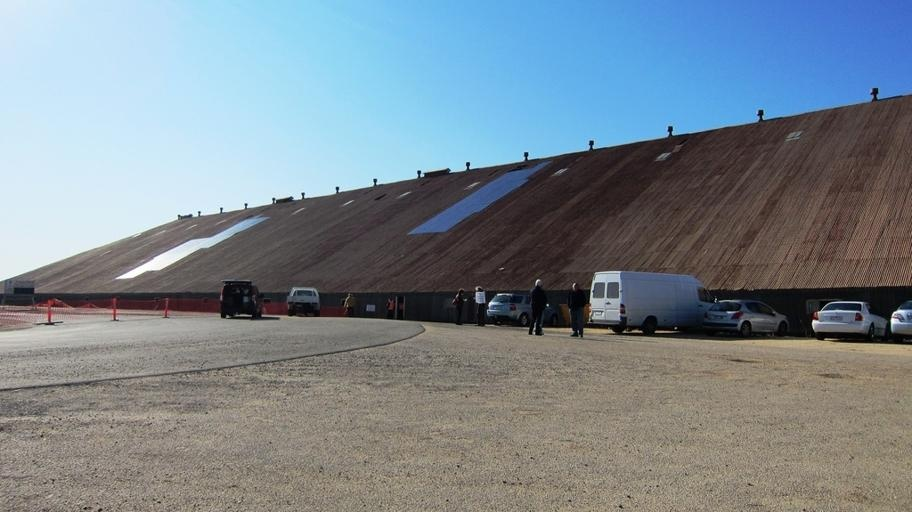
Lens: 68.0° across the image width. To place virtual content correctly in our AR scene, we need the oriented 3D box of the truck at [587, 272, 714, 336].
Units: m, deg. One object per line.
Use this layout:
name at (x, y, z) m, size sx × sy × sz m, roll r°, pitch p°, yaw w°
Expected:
truck at (9.420, 2.203, 31.840) m, size 6.625 × 2.510 × 2.689 m, roll 2°, pitch -4°, yaw -30°

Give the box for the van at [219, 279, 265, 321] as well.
van at (-12.777, 2.139, 39.325) m, size 2.359 × 1.753 × 3.957 m, roll -1°, pitch 10°, yaw -17°

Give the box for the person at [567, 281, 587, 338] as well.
person at (4.894, 2.273, 27.334) m, size 0.587 × 2.128 × 1.187 m, roll 2°, pitch 9°, yaw 8°

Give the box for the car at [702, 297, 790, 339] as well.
car at (12.671, 2.785, 29.726) m, size 3.189 × 1.127 × 1.622 m, roll -2°, pitch 1°, yaw -25°

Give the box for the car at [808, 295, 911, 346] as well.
car at (15.792, 2.658, 27.022) m, size 2.799 × 1.558 × 1.498 m, roll 3°, pitch 9°, yaw 14°

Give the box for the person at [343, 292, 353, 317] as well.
person at (-6.983, 3.242, 43.945) m, size 0.541 × 1.368 × 1.318 m, roll -1°, pitch 9°, yaw -9°

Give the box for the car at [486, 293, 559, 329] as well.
car at (3.609, 2.938, 36.183) m, size 3.409 × 1.160 × 1.778 m, roll -3°, pitch 1°, yaw -36°

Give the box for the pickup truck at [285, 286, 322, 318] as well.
pickup truck at (-10.060, 2.974, 44.727) m, size 1.385 × 1.083 × 2.444 m, roll 0°, pitch 15°, yaw -8°
